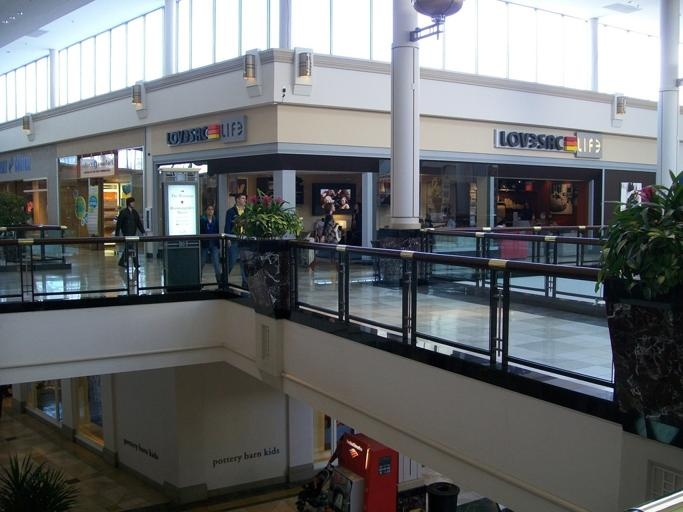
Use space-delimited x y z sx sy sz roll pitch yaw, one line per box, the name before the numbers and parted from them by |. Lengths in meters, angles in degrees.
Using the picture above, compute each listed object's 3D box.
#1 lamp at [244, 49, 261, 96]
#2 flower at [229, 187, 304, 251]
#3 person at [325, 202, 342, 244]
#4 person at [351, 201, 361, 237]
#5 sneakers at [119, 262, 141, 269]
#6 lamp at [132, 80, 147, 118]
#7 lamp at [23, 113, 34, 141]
lamp | -2.096 -4.177 13.022 0.458 0.671 0.290 -1 2 32
flower | -1.054 -0.517 8.267 0.770 0.602 0.831 1 1 4
person | -0.200 -0.616 10.764 0.297 0.761 0.839 -2 2 -2
person | 0.443 -1.211 18.244 0.292 1.049 0.685 -2 2 0
sneakers | -3.336 0.151 8.910 0.332 0.073 0.065 -4 3 -21
lamp | -5.785 -4.429 16.137 0.255 0.760 0.547 -4 3 -44
lamp | -12.334 -4.978 22.182 0.300 0.937 0.940 -4 2 -36
